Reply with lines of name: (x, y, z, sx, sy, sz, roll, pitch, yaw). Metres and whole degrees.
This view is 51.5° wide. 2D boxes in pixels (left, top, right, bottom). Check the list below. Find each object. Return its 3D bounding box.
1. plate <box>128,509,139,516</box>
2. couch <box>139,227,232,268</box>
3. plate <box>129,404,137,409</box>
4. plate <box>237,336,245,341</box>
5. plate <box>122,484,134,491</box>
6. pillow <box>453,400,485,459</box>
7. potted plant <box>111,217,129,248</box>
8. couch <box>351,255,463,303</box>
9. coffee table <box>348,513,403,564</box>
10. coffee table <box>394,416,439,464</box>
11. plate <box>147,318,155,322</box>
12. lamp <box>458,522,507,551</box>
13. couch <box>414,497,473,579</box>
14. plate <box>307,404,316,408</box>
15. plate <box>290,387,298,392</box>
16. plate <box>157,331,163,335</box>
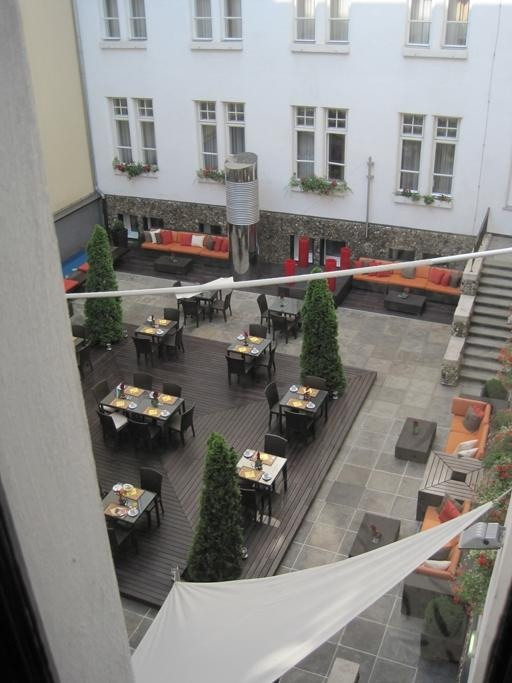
plate: (-2.355, 3.272, 10.155, 0.174, 0.049, 0.204, -6, 21, -9)
couch: (-2.891, -3.990, 22.036, 3.852, 1.120, 0.848, 5, 23, 22)
plate: (-2.963, 1.552, 12.811, 0.177, 0.054, 0.239, -7, 21, -12)
plate: (-0.435, -0.116, 15.346, 0.216, 0.125, 0.329, -4, 20, -4)
plate: (-2.558, 2.902, 10.641, 0.188, 0.078, 0.254, -8, 21, -13)
pillow: (4.925, 2.063, 12.260, 0.446, 0.441, 1.121, 6, 51, 21)
potted plant: (-5.803, -4.526, 22.538, 0.615, 1.101, 0.467, -11, 22, -18)
couch: (5.530, -2.128, 18.886, 3.189, 0.899, 0.933, 4, 22, 19)
coffee table: (2.272, 3.633, 10.084, 0.712, 0.836, 1.158, 7, 23, 25)
coffee table: (3.792, 2.388, 12.632, 0.724, 0.705, 0.977, 9, 24, 29)
plate: (-3.200, -0.641, 16.218, 0.186, 0.055, 0.182, -3, 21, -10)
lamp: (1.132, 0.990, 2.660, 0.211, 0.069, 0.154, -4, 26, 21)
couch: (3.425, 3.681, 9.794, 0.835, 0.810, 1.849, 5, 22, 20)
plate: (1.337, 1.558, 12.922, 0.215, 0.047, 0.283, 1, 21, 10)
plate: (0.948, 1.205, 13.390, 0.184, 0.139, 0.142, -2, 21, 4)
plate: (-2.843, -0.258, 15.787, 0.184, 0.100, 0.255, -7, 21, -11)
